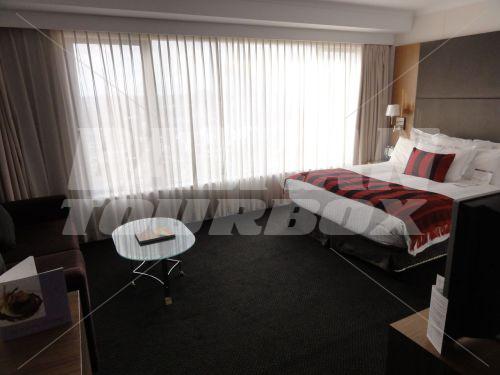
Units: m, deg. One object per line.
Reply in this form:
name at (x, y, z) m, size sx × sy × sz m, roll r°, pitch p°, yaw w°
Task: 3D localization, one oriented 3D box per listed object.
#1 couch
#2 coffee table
couch at (-1.612, 0.717, 2.751) m, size 0.402 × 0.527 × 1.280 m, roll -6°, pitch 28°, yaw -21°
coffee table at (-1.079, 0.735, 3.771) m, size 0.731 × 0.628 × 0.943 m, roll -9°, pitch 26°, yaw -27°
